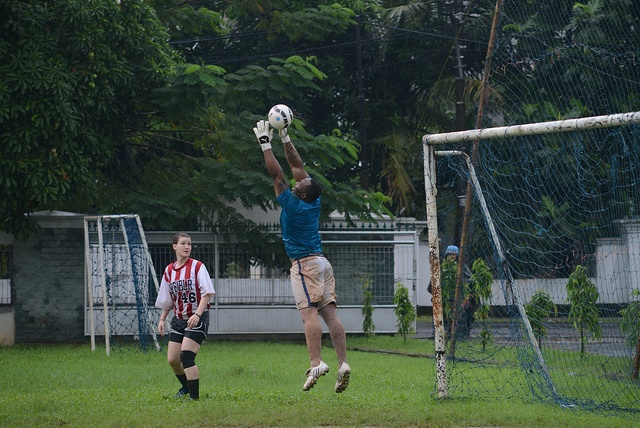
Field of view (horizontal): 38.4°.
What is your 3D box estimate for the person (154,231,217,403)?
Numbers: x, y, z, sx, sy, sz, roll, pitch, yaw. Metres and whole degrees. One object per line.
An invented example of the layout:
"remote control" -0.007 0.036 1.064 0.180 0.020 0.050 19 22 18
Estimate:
"person" -3.035 2.300 20.777 1.285 3.764 0.472 -2 -3 23
